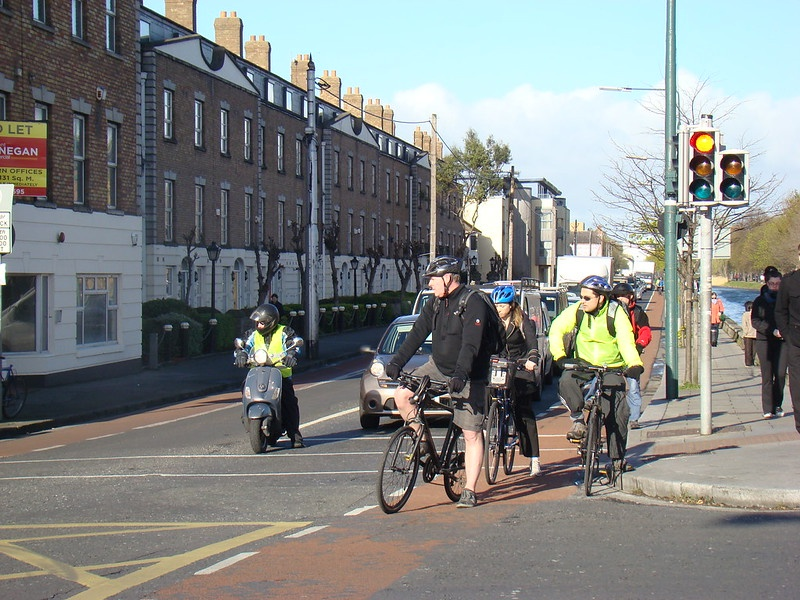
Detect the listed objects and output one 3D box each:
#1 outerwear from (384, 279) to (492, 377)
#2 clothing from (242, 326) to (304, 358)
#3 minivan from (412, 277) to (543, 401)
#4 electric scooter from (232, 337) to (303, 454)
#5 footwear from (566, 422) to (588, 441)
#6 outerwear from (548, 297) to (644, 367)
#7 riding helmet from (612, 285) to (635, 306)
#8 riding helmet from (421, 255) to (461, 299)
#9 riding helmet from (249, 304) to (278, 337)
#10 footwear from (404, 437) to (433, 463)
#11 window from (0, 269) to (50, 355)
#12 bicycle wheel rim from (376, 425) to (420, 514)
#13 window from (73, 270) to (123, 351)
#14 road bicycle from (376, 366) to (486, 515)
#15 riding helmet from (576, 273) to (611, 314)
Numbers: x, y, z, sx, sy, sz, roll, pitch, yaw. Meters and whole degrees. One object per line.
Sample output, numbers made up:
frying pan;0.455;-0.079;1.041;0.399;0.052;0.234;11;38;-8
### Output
outerwear;0.524;0.326;12.206;0.954;1.050;1.049;-2;9;-45
clothing;-1.935;0.588;16.839;0.613;0.329;0.862;6;34;8
minivan;2.198;0.549;21.595;1.598;1.913;2.911;-1;-3;19
electric scooter;-1.994;1.344;15.990;0.691;1.660;0.632;-2;0;-8
footwear;2.054;1.505;12.777;0.216;0.257;0.192;-2;0;5
outerwear;2.284;0.374;12.886;1.136;1.044;0.683;0;-1;28
riding helmet;3.172;-0.144;15.696;0.283;0.425;0.392;-1;0;22
riding helmet;0.460;-0.335;12.108;0.392;0.458;0.356;-4;-2;-3
riding helmet;-1.974;0.171;16.142;0.400;0.467;0.378;-6;25;-31
footwear;0.208;1.654;12.194;0.359;0.263;0.179;14;-13;-36
window;-8.120;0.145;23.855;0.214;1.612;1.641;0;4;32
bicycle wheel rim;0.005;1.916;12.188;0.222;0.798;0.821;13;-30;26
window;-7.248;0.168;26.426;0.126;2.170;1.378;-8;-18;29
road bicycle;0.436;1.632;12.463;0.732;1.260;1.823;2;-7;29
riding helmet;2.268;-0.115;12.816;0.392;0.456;0.341;1;3;17
